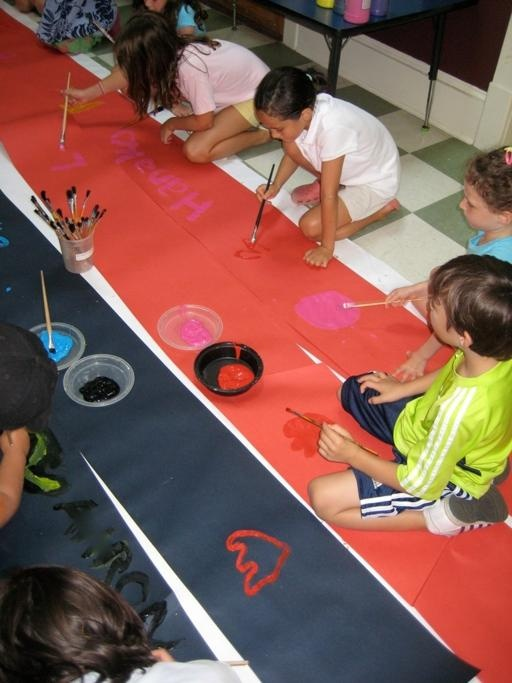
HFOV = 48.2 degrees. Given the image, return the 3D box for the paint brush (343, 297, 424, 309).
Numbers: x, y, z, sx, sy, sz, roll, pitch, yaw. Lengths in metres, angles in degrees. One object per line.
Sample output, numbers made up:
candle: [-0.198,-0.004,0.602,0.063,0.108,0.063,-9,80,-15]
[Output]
paint brush: [0.400,-0.121,1.834,0.295,0.029,0.040,0,-8,-26]

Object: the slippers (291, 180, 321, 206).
slippers: [0.195,-0.583,2.294,0.130,0.048,0.084,-19,68,-6]

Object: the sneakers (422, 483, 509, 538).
sneakers: [0.512,0.382,1.305,0.245,0.089,0.075,5,51,-28]

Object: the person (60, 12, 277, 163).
person: [-0.417,-1.128,2.474,0.986,0.508,0.612,11,53,3]

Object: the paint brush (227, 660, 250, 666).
paint brush: [-0.032,0.577,1.028,0.025,0.005,0.013,1,7,-5]

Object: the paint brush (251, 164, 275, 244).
paint brush: [0.046,-0.544,2.163,0.054,0.025,0.484,18,51,-3]

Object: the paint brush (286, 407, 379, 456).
paint brush: [0.186,0.225,1.408,0.014,0.040,0.285,-28,34,-26]
